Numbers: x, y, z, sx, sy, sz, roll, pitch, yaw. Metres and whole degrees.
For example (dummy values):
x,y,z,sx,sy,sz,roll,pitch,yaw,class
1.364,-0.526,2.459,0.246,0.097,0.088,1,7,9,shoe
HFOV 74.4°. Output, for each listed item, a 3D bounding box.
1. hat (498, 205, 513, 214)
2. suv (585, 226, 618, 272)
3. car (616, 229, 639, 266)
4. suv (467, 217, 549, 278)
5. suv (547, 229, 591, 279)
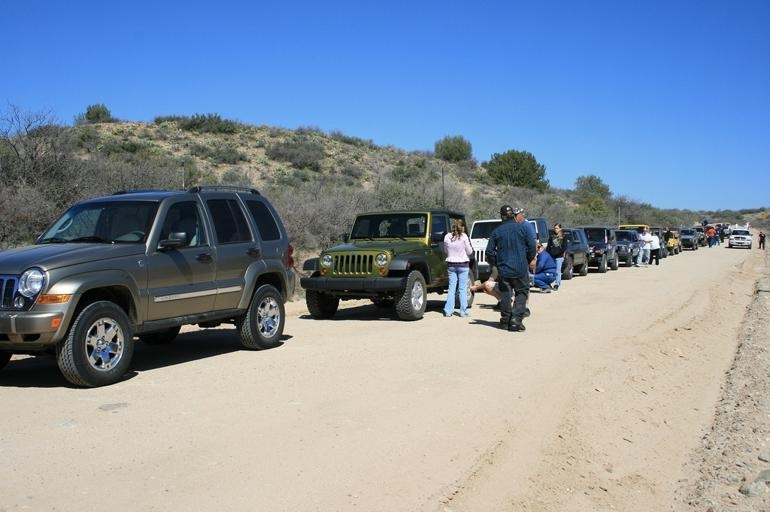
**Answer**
x,y,z,sx,sy,sz,roll,pitch,yaw,class
2.768,-1.060,11.443,0.182,0.146,0.263,9,11,43,hat
11.612,-0.453,28.193,2.284,2.108,3.891,5,5,33,suv
14.810,-0.589,30.910,1.587,1.406,2.735,-2,-3,25,car
4.410,-0.416,19.280,2.218,2.015,3.906,-2,-3,25,suv
8.868,-0.196,24.227,2.192,1.749,3.386,0,2,24,suv
